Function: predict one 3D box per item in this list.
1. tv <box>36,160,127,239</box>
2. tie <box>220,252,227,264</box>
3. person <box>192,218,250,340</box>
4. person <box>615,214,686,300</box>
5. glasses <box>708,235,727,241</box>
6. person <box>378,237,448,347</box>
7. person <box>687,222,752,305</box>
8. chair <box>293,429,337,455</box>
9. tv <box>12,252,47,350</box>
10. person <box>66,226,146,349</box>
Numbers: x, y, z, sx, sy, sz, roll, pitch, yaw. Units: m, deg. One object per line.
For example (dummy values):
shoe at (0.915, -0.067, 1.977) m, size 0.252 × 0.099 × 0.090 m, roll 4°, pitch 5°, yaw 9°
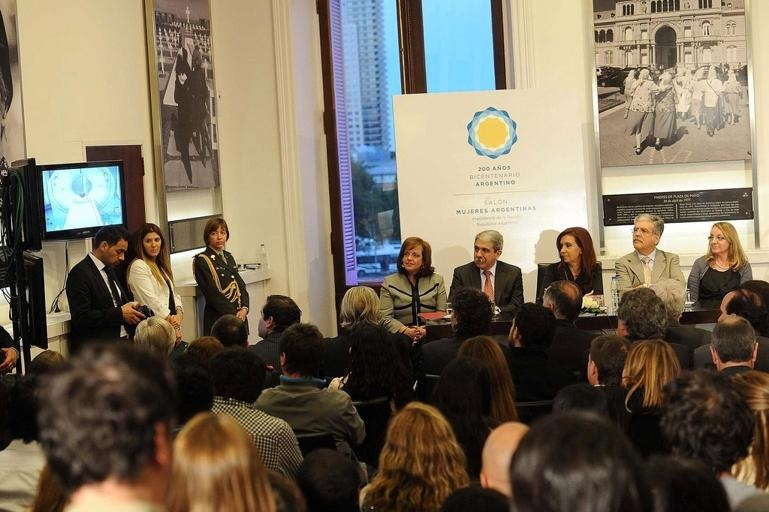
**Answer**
tv at (-2.331, -0.424, 4.877) m, size 0.063 × 0.472 × 0.617 m, roll -1°, pitch 3°, yaw 27°
tie at (-1.497, 0.022, 5.943) m, size 0.021 × 0.090 × 0.063 m, roll -30°, pitch -16°, yaw 38°
person at (-1.516, 0.196, 5.886) m, size 0.434 × 1.074 × 0.376 m, roll -3°, pitch 7°, yaw -6°
person at (2.247, 0.062, 5.476) m, size 0.566 × 0.826 × 0.475 m, roll 1°, pitch 4°, yaw 32°
glasses at (2.816, -0.152, 5.467) m, size 0.119 × 0.046 × 0.039 m, roll 4°, pitch 10°, yaw 41°
person at (0.225, 0.326, 5.582) m, size 0.489 × 0.997 × 0.577 m, roll 7°, pitch 14°, yaw 33°
person at (2.879, 0.165, 5.527) m, size 0.490 × 0.901 × 0.475 m, roll 3°, pitch 15°, yaw 37°
chair at (-0.318, 0.859, 3.009) m, size 0.202 × 0.160 × 0.201 m, roll 0°, pitch -2°, yaw 0°
tv at (-2.175, 0.287, 3.919) m, size 0.074 × 0.742 × 0.582 m, roll -3°, pitch 2°, yaw -31°
person at (-2.075, 0.250, 4.726) m, size 0.520 × 0.902 × 0.344 m, roll -7°, pitch 8°, yaw -28°
